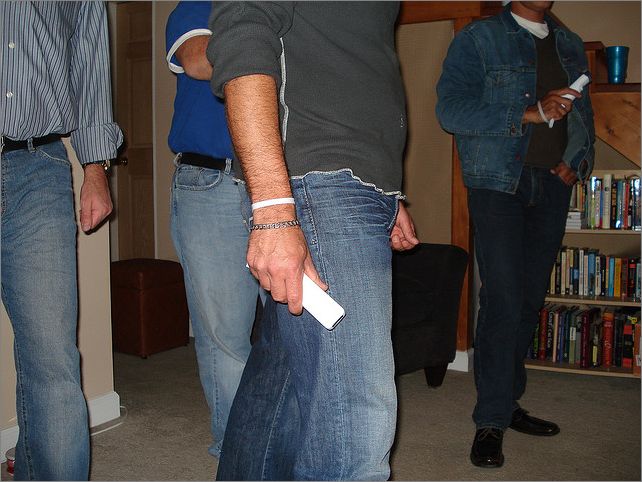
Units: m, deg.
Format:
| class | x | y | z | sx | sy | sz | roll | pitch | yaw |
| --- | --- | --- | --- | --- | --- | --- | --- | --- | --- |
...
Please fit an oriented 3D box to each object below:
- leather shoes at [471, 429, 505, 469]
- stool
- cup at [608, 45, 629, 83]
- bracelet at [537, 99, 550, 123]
| class | x | y | z | sx | sy | sz | roll | pitch | yaw |
| --- | --- | --- | --- | --- | --- | --- | --- | --- | --- |
| leather shoes | 0.650 | 0.806 | 2.267 | 0.133 | 0.110 | 0.148 | 1 | 7 | 7 |
| stool | -1.117 | 0.400 | 3.641 | 0.392 | 0.524 | 0.390 | 1 | 4 | 30 |
| cup | 1.572 | -0.937 | 3.087 | 0.133 | 0.187 | 0.121 | -2 | 7 | 0 |
| bracelet | 0.868 | -0.511 | 2.272 | 0.020 | 0.080 | 0.058 | -19 | 1 | -34 |
